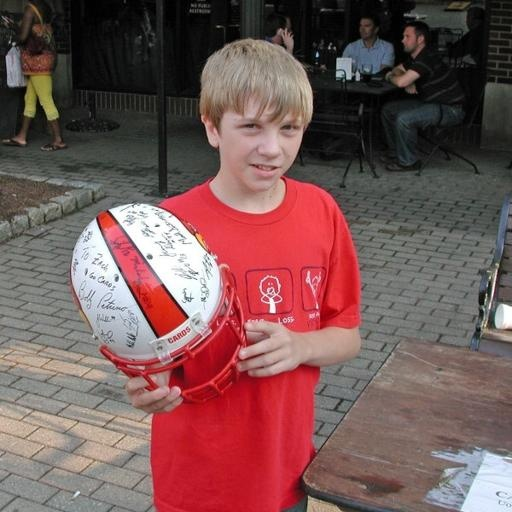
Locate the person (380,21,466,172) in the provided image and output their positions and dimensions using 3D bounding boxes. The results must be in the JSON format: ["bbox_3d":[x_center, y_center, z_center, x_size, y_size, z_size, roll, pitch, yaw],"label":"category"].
[{"bbox_3d":[2.567,-2.476,8.285,1.257,2.257,0.898,5,22,22],"label":"person"}]

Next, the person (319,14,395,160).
[{"bbox_3d":[2.040,-3.563,10.034,0.987,1.932,0.597,4,60,8],"label":"person"}]

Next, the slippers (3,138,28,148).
[{"bbox_3d":[-4.166,-1.960,9.225,0.452,0.137,0.150,6,8,1],"label":"slippers"}]

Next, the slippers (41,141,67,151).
[{"bbox_3d":[-3.413,-1.859,9.029,0.366,0.071,0.160,-5,11,-41],"label":"slippers"}]

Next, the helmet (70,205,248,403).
[{"bbox_3d":[-0.199,0.113,1.119,0.337,0.424,0.260,-6,20,-9],"label":"helmet"}]
